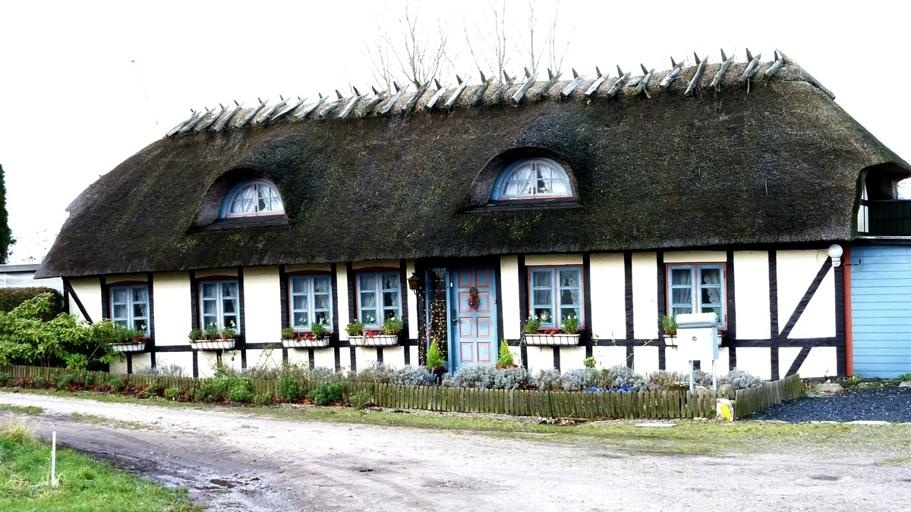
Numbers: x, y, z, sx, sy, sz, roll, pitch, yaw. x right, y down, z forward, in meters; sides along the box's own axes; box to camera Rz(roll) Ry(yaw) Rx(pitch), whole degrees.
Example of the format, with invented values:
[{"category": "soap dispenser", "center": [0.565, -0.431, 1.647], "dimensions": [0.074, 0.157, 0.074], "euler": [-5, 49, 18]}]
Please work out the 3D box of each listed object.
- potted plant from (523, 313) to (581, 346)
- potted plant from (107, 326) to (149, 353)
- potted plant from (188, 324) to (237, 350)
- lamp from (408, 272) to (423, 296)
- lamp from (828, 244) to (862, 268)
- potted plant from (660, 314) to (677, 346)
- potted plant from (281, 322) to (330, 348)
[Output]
[{"category": "potted plant", "center": [3.135, 2.428, 42.736], "dimensions": [1.604, 0.651, 0.896], "euler": [0, 1, 18]}, {"category": "potted plant", "center": [-11.541, 2.950, 46.006], "dimensions": [1.091, 0.510, 1.054], "euler": [1, -1, -10]}, {"category": "potted plant", "center": [-8.369, 2.767, 45.371], "dimensions": [1.341, 0.550, 0.909], "euler": [0, -1, 17]}, {"category": "lamp", "center": [-1.401, 0.893, 43.726], "dimensions": [0.457, 0.740, 0.541], "euler": [1, -7, -4]}, {"category": "lamp", "center": [11.887, 0.002, 40.893], "dimensions": [0.696, 0.673, 0.365], "euler": [3, -7, -22]}, {"category": "potted plant", "center": [6.703, 2.351, 41.779], "dimensions": [0.467, 0.989, 0.328], "euler": [0, -7, -1]}, {"category": "potted plant", "center": [-5.051, 2.656, 44.680], "dimensions": [1.278, 0.500, 0.918], "euler": [0, -2, 16]}]
